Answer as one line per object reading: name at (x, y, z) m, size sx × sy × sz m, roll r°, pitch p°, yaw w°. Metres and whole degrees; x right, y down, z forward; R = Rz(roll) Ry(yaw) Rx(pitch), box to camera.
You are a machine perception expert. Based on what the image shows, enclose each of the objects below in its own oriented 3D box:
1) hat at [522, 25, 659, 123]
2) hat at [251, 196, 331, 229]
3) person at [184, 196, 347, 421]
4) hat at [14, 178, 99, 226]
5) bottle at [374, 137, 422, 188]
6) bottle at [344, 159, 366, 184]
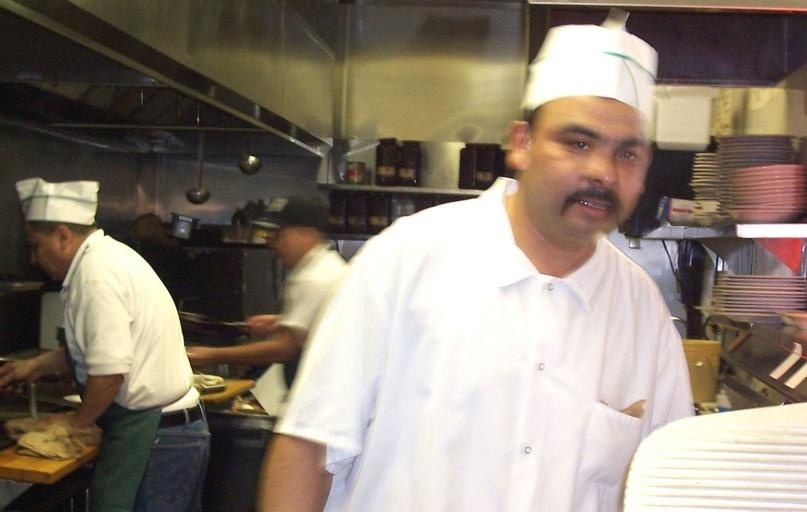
hat at (0.490, -0.526, 2.181) m, size 0.390 × 0.253 × 0.369 m, roll -6°, pitch 5°, yaw 43°
hat at (-0.747, -0.256, 4.854) m, size 0.414 × 0.125 × 0.282 m, roll 0°, pitch 0°, yaw -14°
person at (-0.699, 0.414, 3.804) m, size 0.927 × 1.401 × 0.693 m, roll -4°, pitch 11°, yaw -15°
hat at (-1.525, -0.236, 3.228) m, size 0.306 × 0.192 × 0.343 m, roll 0°, pitch 0°, yaw -7°
bottle at (-0.035, -0.569, 4.780) m, size 0.420 × 0.376 × 0.281 m, roll 2°, pitch 4°, yaw -3°
bottle at (-0.315, -0.547, 4.723) m, size 0.183 × 0.185 × 0.175 m, roll 0°, pitch 1°, yaw -11°
